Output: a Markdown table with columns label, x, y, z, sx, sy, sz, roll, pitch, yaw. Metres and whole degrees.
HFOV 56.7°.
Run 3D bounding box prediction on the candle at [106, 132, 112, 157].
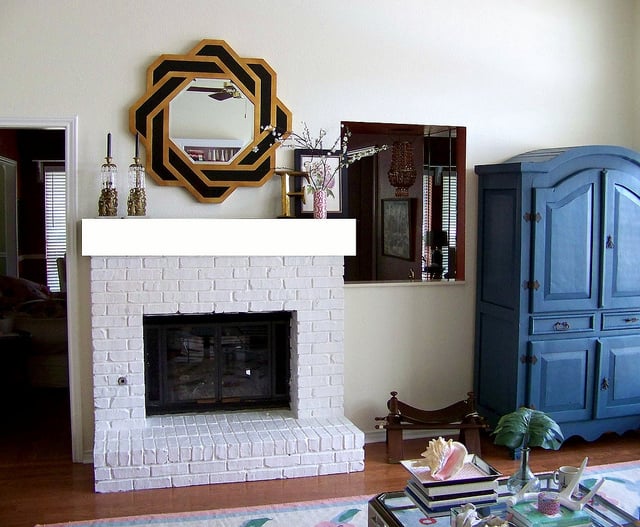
| label | x | y | z | sx | sy | sz | roll | pitch | yaw |
| --- | --- | --- | --- | --- | --- | --- | --- | --- | --- |
| candle | -1.341 | -0.754 | 3.769 | 0.039 | 0.156 | 0.206 | -2 | 7 | -19 |

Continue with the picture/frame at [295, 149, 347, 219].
| label | x | y | z | sx | sy | sz | roll | pitch | yaw |
| --- | --- | --- | --- | --- | --- | --- | --- | --- | --- |
| picture/frame | -0.014 | -0.549 | 4.067 | 0.499 | 0.640 | 0.045 | -1 | 2 | -21 |

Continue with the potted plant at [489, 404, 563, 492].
| label | x | y | z | sx | sy | sz | roll | pitch | yaw |
| --- | --- | --- | --- | --- | --- | --- | --- | --- | --- |
| potted plant | 1.019 | 0.817 | 2.787 | 0.371 | 0.408 | 0.340 | 0 | -2 | -5 |

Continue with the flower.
| label | x | y | z | sx | sy | sz | roll | pitch | yaw |
| --- | --- | --- | --- | --- | --- | --- | --- | --- | --- |
| flower | 0.008 | -0.774 | 4.147 | 0.831 | 0.393 | 0.532 | 0 | 7 | 0 |

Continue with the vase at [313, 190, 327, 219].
| label | x | y | z | sx | sy | sz | roll | pitch | yaw |
| --- | --- | --- | --- | --- | --- | --- | --- | --- | --- |
| vase | -0.003 | -0.393 | 3.897 | 0.075 | 0.192 | 0.038 | 1 | 6 | 6 |

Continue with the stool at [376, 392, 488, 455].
| label | x | y | z | sx | sy | sz | roll | pitch | yaw |
| --- | --- | --- | --- | --- | --- | --- | --- | --- | --- |
| stool | 0.738 | 1.097 | 4.130 | 0.780 | 0.432 | 0.535 | -1 | 6 | -6 |

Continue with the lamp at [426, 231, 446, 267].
| label | x | y | z | sx | sy | sz | roll | pitch | yaw |
| --- | --- | --- | --- | --- | --- | --- | --- | --- | --- |
| lamp | 0.876 | -0.115 | 4.487 | 0.151 | 0.253 | 0.049 | 1 | 6 | 8 |

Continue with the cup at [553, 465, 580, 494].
| label | x | y | z | sx | sy | sz | roll | pitch | yaw |
| --- | --- | --- | --- | --- | --- | --- | --- | --- | --- |
| cup | 1.136 | 0.959 | 2.666 | 0.142 | 0.120 | 0.089 | -2 | 4 | -5 |

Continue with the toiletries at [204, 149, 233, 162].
| label | x | y | z | sx | sy | sz | roll | pitch | yaw |
| --- | --- | --- | --- | --- | --- | --- | --- | --- | --- |
| toiletries | -0.669 | -0.729 | 3.962 | 0.169 | 0.085 | 0.037 | 1 | -2 | -12 |

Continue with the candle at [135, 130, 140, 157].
| label | x | y | z | sx | sy | sz | roll | pitch | yaw |
| --- | --- | --- | --- | --- | --- | --- | --- | --- | --- |
| candle | -1.167 | -0.759 | 3.784 | 0.021 | 0.160 | 0.167 | -2 | 7 | -16 |

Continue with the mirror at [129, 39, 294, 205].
| label | x | y | z | sx | sy | sz | roll | pitch | yaw |
| --- | --- | --- | --- | --- | --- | --- | --- | --- | --- |
| mirror | -0.770 | -0.952 | 3.931 | 1.167 | 1.155 | 0.028 | 0 | 0 | -16 |

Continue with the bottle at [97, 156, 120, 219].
| label | x | y | z | sx | sy | sz | roll | pitch | yaw |
| --- | --- | --- | --- | --- | --- | --- | --- | --- | --- |
| bottle | -1.349 | -0.486 | 3.770 | 0.128 | 0.374 | 0.265 | -2 | 7 | -20 |

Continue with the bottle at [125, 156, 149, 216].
| label | x | y | z | sx | sy | sz | roll | pitch | yaw |
| --- | --- | --- | --- | --- | --- | --- | --- | --- | --- |
| bottle | -1.181 | -0.494 | 3.809 | 0.130 | 0.369 | 0.227 | -2 | 7 | -17 |
